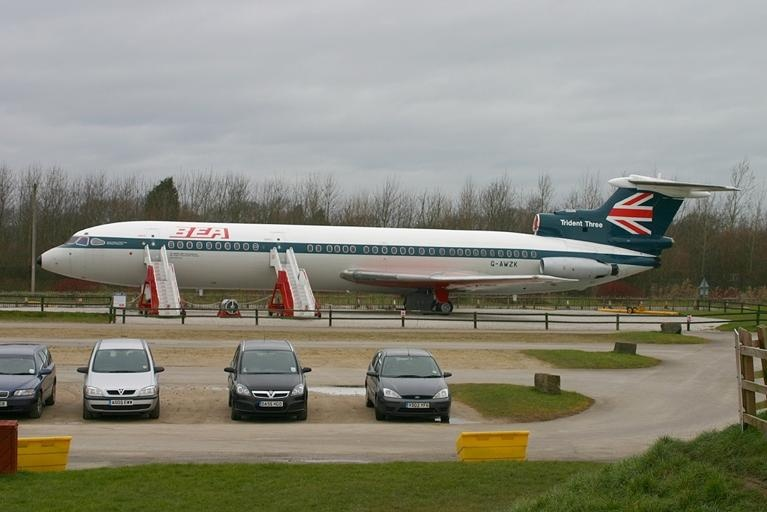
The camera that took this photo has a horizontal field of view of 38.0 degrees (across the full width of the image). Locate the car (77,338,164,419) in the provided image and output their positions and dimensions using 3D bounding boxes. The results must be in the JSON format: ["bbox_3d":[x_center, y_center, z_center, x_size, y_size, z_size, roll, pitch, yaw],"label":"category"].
[{"bbox_3d":[-10.485,4.433,44.486,3.221,2.144,4.994,2,15,-14],"label":"car"}]

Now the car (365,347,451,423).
[{"bbox_3d":[0.938,4.834,45.297,3.218,1.866,5.300,-1,11,-11],"label":"car"}]
